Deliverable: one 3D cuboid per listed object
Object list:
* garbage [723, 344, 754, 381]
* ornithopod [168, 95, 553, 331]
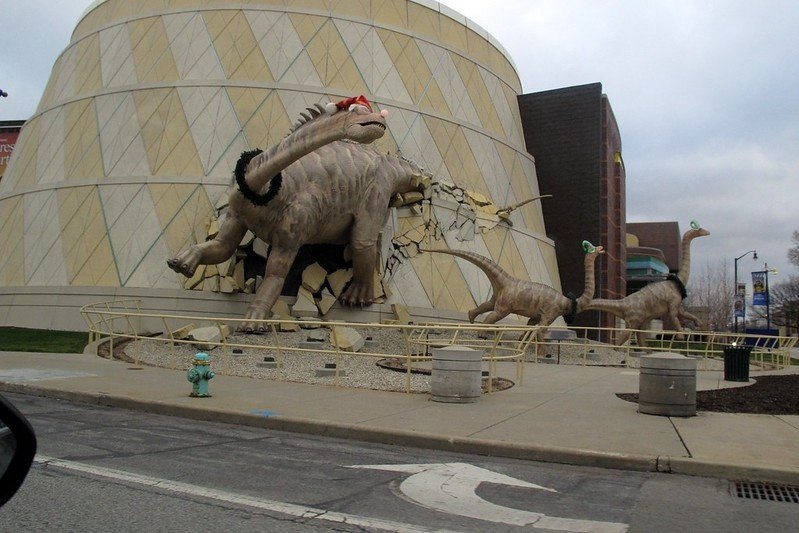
[{"bbox_3d":[9.683,2.768,18.635,0.761,1.003,0.811,6,-4,-37],"label":"garbage"},{"bbox_3d":[-2.637,-2.848,26.723,8.783,9.029,14.556,4,15,16],"label":"ornithopod"}]
